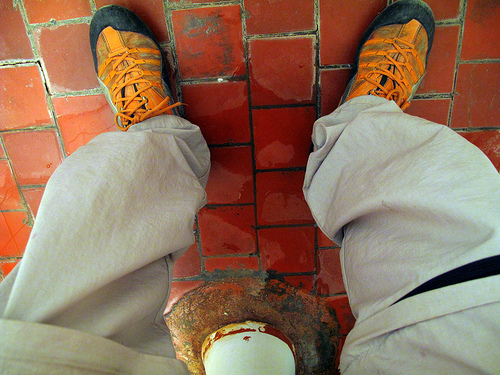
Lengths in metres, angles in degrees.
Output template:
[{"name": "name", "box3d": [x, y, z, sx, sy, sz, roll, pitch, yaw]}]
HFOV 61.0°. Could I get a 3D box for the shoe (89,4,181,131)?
[{"name": "shoe", "box3d": [-0.436, -0.454, 1.544, 0.271, 0.384, 0.382, -20, 30, -13]}]
